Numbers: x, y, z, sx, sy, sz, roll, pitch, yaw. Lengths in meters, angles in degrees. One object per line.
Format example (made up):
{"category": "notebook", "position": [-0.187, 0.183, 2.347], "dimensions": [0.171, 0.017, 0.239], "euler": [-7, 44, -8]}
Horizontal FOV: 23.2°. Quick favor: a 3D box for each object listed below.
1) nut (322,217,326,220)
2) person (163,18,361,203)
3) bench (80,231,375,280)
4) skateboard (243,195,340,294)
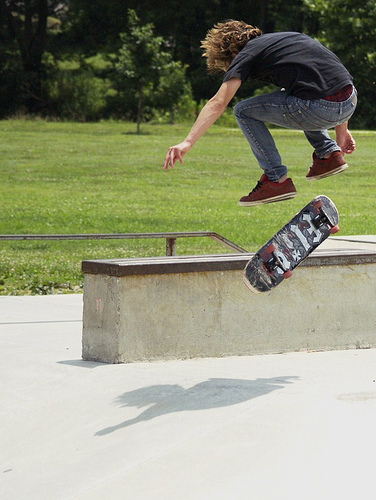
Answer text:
{"category": "nut", "position": [0.810, -0.313, 5.352], "dimensions": [0.022, 0.012, 0.015], "euler": [1, 17, -1]}
{"category": "person", "position": [0.552, -1.085, 5.489], "dimensions": [1.597, 1.170, 1.008], "euler": [-12, 9, -29]}
{"category": "bench", "position": [0.260, -0.107, 7.868], "dimensions": [2.366, 0.371, 0.102], "euler": [-5, 12, -23]}
{"category": "skateboard", "position": [0.607, -0.161, 5.479], "dimensions": [0.912, 0.329, 0.151], "euler": [-45, 11, -8]}
